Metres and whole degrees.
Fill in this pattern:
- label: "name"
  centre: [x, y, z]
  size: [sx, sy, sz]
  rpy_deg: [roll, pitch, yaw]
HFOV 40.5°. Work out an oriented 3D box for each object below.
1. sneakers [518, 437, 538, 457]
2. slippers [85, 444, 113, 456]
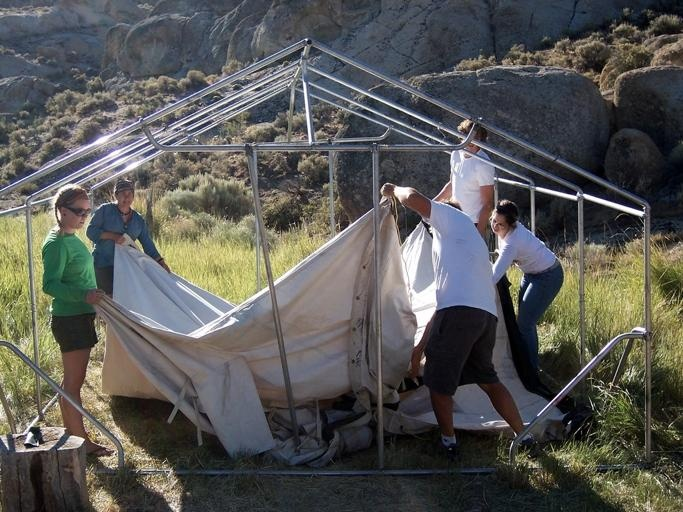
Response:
- label: "sneakers"
  centre: [2.304, 2.358, 11.453]
  size: [0.183, 0.228, 0.206]
  rpy_deg: [1, 6, 12]
- label: "slippers"
  centre: [-2.995, 2.425, 11.569]
  size: [0.318, 0.179, 0.121]
  rpy_deg: [-2, 3, -8]
